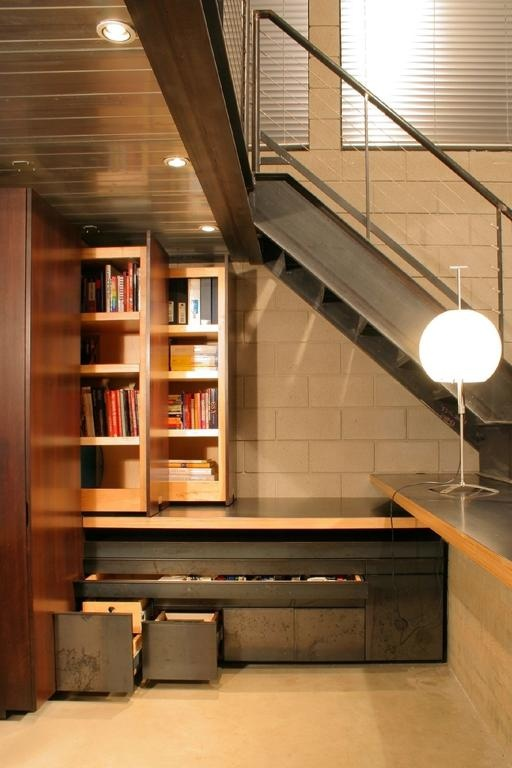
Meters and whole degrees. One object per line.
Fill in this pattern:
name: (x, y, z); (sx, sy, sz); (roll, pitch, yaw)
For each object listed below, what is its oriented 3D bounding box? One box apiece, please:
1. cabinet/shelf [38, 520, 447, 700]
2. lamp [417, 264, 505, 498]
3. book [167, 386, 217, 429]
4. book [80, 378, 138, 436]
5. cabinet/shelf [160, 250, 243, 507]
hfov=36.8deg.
cabinet/shelf: (-0.021, 0.939, 3.529); (1.755, 0.712, 0.579); (-2, 5, -16)
lamp: (0.794, -0.256, 2.969); (0.276, 0.842, 0.282); (-1, 1, 25)
book: (-0.310, 0.138, 3.869); (0.250, 0.252, 0.189); (0, -5, 5)
book: (-0.708, 0.100, 3.702); (0.212, 0.291, 0.289); (-1, -4, -9)
cabinet/shelf: (-0.378, 0.008, 3.853); (0.572, 1.142, 0.380); (-1, 7, 3)
